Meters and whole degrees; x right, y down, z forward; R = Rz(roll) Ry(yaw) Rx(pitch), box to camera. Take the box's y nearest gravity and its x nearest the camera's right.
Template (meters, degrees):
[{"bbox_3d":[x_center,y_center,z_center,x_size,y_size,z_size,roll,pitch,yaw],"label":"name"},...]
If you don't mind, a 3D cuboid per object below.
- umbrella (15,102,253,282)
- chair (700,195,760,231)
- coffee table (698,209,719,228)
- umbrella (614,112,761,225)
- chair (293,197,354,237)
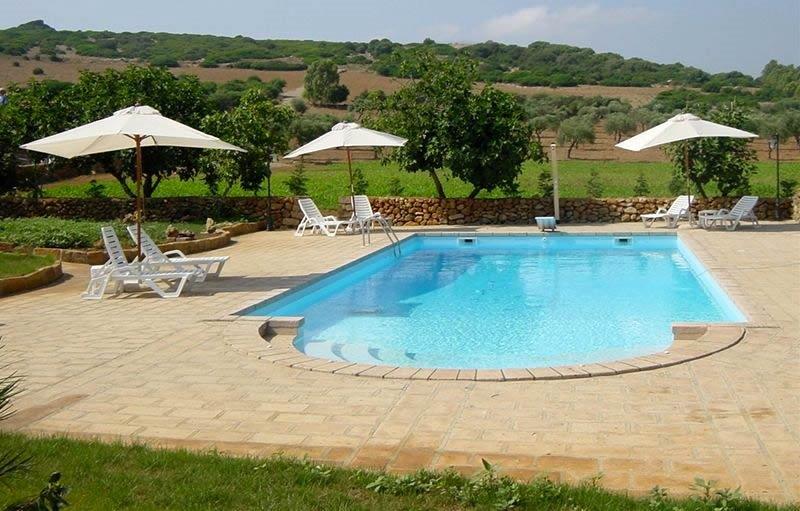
[{"bbox_3d":[-5.718,-1.674,13.774,2.796,2.835,5.786,-9,16,-26],"label":"umbrella"},{"bbox_3d":[9.381,-1.198,18.592,1.919,0.796,0.978,-5,6,-27],"label":"chair"},{"bbox_3d":[8.676,-1.036,18.760,0.576,0.508,0.562,-2,3,19],"label":"coffee table"},{"bbox_3d":[8.077,-2.276,18.629,3.397,2.205,3.413,-15,13,-24],"label":"umbrella"},{"bbox_3d":[-2.373,-1.167,19.703,1.743,1.051,1.129,3,9,16],"label":"chair"}]
